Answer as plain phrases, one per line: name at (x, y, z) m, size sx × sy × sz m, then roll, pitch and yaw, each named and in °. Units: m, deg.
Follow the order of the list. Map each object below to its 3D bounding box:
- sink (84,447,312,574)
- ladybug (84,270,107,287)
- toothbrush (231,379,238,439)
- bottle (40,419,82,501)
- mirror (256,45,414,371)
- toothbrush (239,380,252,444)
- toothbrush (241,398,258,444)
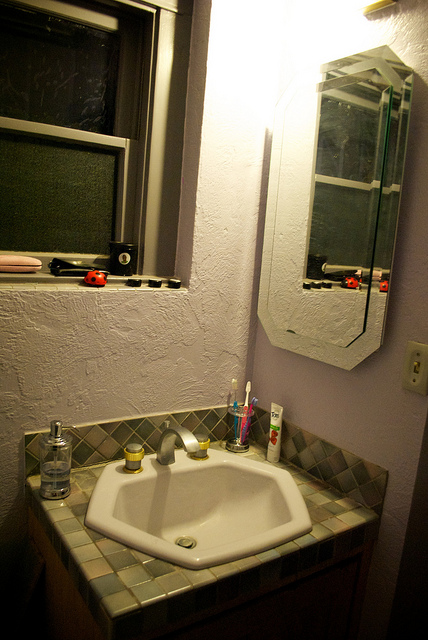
sink at (-0.088, 0.441, 1.059) m, size 0.350 × 0.139 × 0.366 m, roll -3°, pitch 5°, yaw -18°
ladybug at (-0.289, -0.101, 1.178) m, size 0.048 × 0.029 × 0.033 m, roll 34°, pitch 19°, yaw 28°
toothbrush at (0.059, 0.246, 1.389) m, size 0.014 × 0.156 × 0.014 m, roll 0°, pitch 4°, yaw -27°
bottle at (-0.343, 0.305, 1.071) m, size 0.071 × 0.159 × 0.096 m, roll 0°, pitch 1°, yaw 40°
mirror at (0.269, -0.252, 1.195) m, size 0.075 × 0.721 × 0.475 m, roll 3°, pitch 11°, yaw -28°
toothbrush at (0.088, 0.253, 1.385) m, size 0.010 × 0.206 × 0.022 m, roll 4°, pitch 6°, yaw -6°
toothbrush at (0.105, 0.296, 1.424) m, size 0.018 × 0.164 × 0.013 m, roll 25°, pitch -10°, yaw -16°
